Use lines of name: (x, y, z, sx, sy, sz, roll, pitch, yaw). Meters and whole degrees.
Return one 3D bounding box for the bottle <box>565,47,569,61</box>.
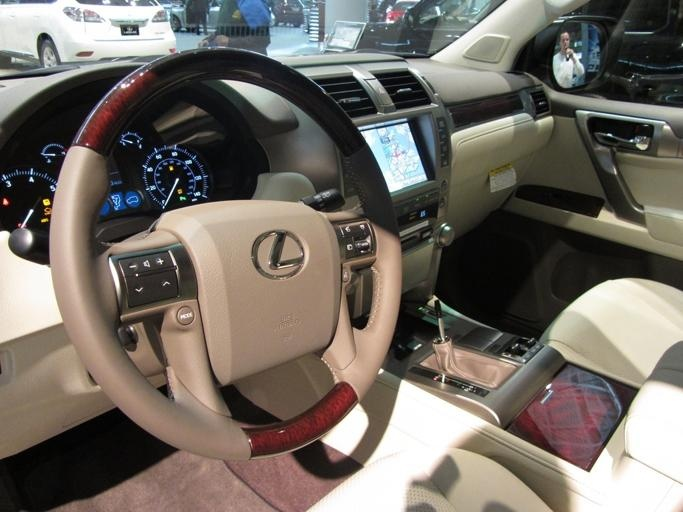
bottle: (1.088, -0.974, 2.349, 0.013, 0.056, 0.012, -1, 23, 1)
